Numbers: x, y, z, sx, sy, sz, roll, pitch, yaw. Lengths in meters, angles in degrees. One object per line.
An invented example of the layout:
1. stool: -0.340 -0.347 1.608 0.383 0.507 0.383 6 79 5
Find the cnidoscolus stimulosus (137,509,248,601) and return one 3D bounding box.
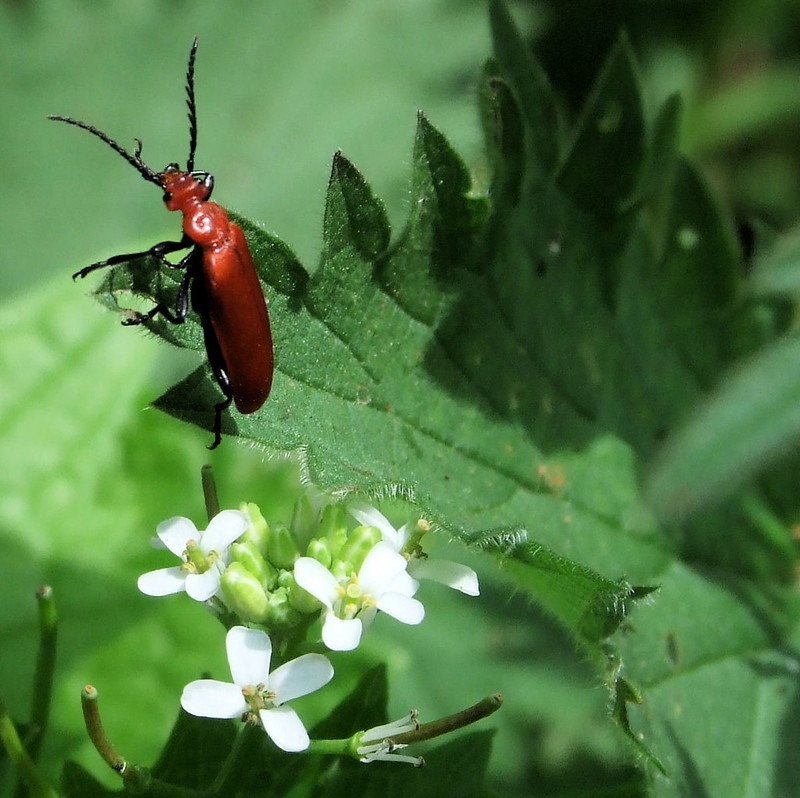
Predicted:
1. cnidoscolus stimulosus: -0.206 0.156 1.131 0.107 0.082 0.061 -4 12 0

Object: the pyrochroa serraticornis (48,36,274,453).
1. pyrochroa serraticornis: -0.265 -0.157 1.242 0.192 0.319 0.560 -7 13 -15

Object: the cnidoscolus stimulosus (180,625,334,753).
1. cnidoscolus stimulosus: -0.130 0.278 1.058 0.126 0.107 0.086 2 13 24
